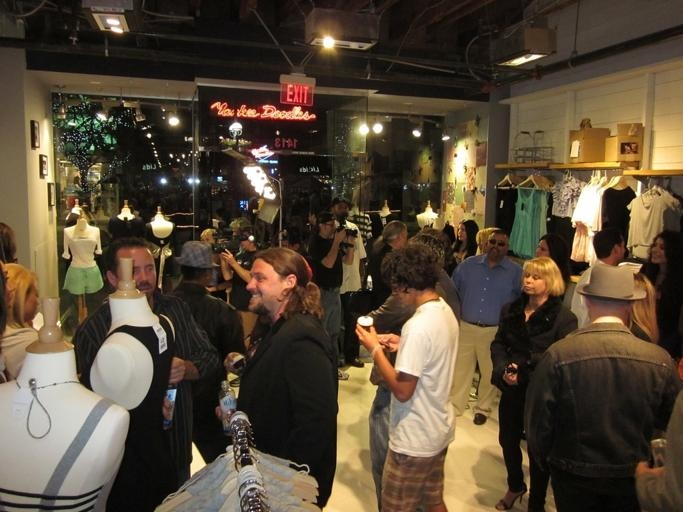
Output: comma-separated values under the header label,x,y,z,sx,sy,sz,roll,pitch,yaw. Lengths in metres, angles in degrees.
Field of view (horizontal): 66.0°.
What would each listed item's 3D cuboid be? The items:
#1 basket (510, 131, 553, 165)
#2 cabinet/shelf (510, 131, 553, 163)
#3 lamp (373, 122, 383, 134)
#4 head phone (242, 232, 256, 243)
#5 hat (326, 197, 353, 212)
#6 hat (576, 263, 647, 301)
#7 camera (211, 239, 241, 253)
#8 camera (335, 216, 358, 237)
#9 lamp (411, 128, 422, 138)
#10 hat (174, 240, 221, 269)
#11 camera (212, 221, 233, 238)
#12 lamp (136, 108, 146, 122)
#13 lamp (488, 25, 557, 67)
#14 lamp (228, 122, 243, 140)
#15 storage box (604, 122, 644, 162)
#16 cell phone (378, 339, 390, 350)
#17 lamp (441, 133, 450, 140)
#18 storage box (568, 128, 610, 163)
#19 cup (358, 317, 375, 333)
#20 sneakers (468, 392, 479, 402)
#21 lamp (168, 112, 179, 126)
label,x,y,z,sx,sy,sz,roll,pitch,yaw
basket,2.632,-1.538,7.374,0.312,0.456,0.868,-1,10,-7
cabinet/shelf,2.704,-1.490,7.342,0.457,0.464,0.251,3,7,33
lamp,0.575,-1.966,8.148,0.086,0.189,0.225,-8,18,-18
head phone,-1.102,-0.220,6.271,0.110,0.120,0.038,-4,-18,11
hat,0.004,-0.635,6.743,0.176,0.219,0.220,-1,-10,-15
hat,1.396,0.127,2.733,0.385,0.156,0.346,-4,10,25
camera,-1.380,-0.114,6.277,0.248,0.106,0.158,0,3,10
camera,0.071,-0.353,6.519,0.240,0.212,0.328,1,0,18
lamp,1.290,-2.083,8.943,0.156,0.155,0.261,2,10,10
hat,-0.962,-0.002,3.521,0.185,0.118,0.214,5,0,-9
camera,-1.429,-0.297,6.333,0.267,0.156,0.186,7,19,0
lamp,-2.945,-2.056,7.693,0.139,0.189,0.130,-3,10,-22
lamp,1.848,-2.108,5.298,0.424,0.316,0.536,-4,10,-24
lamp,-1.321,-1.560,6.612,0.160,0.202,0.070,2,2,-8
storage box,3.048,-1.168,5.602,0.313,0.399,0.317,4,-6,7
cell phone,0.255,0.520,3.118,0.046,0.050,0.083,4,3,-43
lamp,1.735,-1.976,8.705,0.149,0.105,0.133,1,-4,-45
storage box,2.725,-1.171,5.904,0.387,0.418,0.410,-1,4,-14
cup,0.137,0.385,2.959,0.077,0.084,0.100,-1,10,-6
sneakers,1.432,1.524,5.704,0.049,0.061,0.151,-1,-4,1
lamp,-2.494,-2.018,7.781,0.144,0.158,0.036,6,-3,0
